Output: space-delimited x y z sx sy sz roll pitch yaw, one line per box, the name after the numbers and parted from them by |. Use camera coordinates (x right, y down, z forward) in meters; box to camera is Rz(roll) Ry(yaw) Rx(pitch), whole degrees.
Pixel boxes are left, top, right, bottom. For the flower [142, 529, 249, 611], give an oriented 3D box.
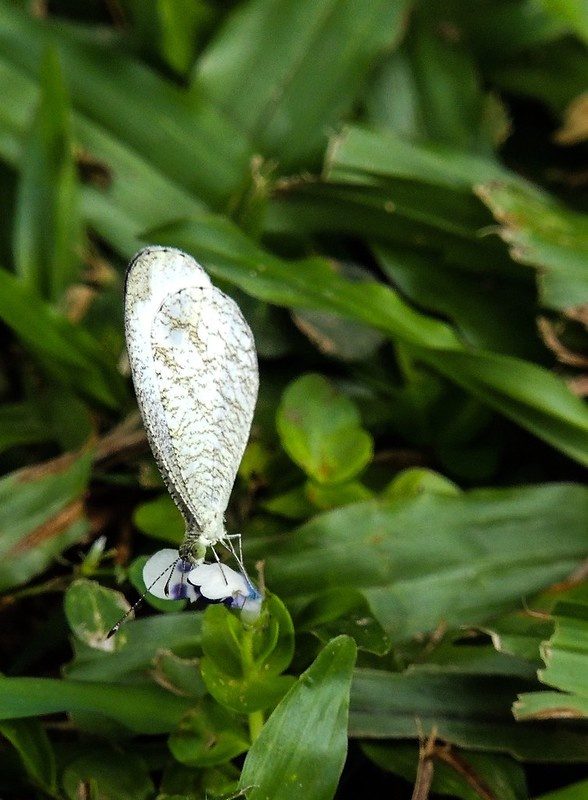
-0.110 0.175 0.918 0.089 0.064 0.039 -12 9 -10 | flower

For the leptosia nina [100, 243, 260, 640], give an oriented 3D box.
-0.117 0.028 0.970 0.094 0.376 0.180 -9 -16 28 | leptosia nina
